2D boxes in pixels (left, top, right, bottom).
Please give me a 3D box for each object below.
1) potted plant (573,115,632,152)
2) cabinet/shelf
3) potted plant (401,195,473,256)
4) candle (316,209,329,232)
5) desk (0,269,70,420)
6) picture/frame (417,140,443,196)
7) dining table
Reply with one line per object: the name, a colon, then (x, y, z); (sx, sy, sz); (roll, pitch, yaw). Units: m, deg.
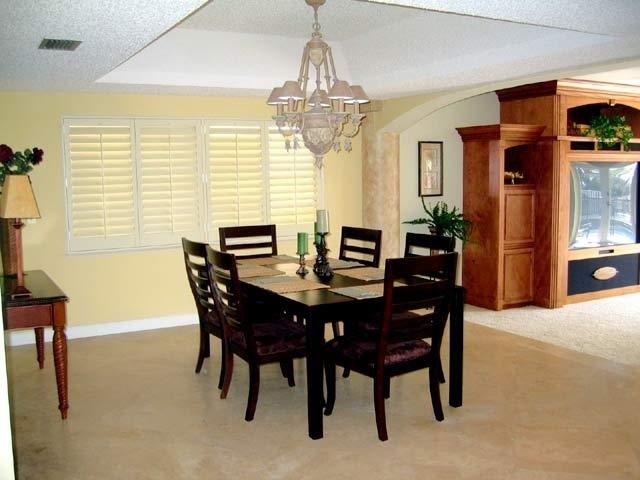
potted plant: (3.533, -1.315, 6.075); (0.527, 0.359, 0.577); (-6, 20, -1)
cabinet/shelf: (2.184, -0.278, 5.833); (0.838, 2.138, 0.686); (-3, 9, -12)
potted plant: (1.454, -0.184, 5.820); (0.679, 0.432, 0.681); (1, 4, 10)
candle: (0.015, -0.137, 3.592); (0.089, 0.170, 0.151); (-1, 9, -5)
desk: (-1.907, 0.719, 3.237); (0.381, 0.639, 1.029); (-1, 2, -31)
picture/frame: (1.406, -0.901, 6.174); (0.361, 0.689, 0.073); (-5, 10, -27)
dining table: (0.180, 0.521, 3.158); (1.138, 0.920, 1.757); (-8, 11, -35)
